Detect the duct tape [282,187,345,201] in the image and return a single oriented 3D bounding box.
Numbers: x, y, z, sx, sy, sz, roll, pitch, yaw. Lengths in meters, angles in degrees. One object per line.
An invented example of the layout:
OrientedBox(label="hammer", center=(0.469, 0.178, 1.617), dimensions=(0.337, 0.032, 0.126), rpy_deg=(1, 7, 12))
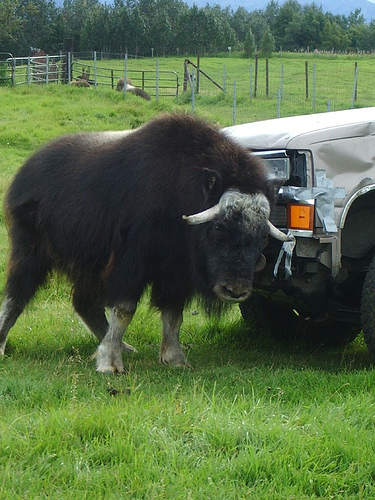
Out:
OrientedBox(label="duct tape", center=(0.820, -0.355, 3.829), dimensions=(0.392, 0.097, 0.188), rpy_deg=(4, 9, 9))
